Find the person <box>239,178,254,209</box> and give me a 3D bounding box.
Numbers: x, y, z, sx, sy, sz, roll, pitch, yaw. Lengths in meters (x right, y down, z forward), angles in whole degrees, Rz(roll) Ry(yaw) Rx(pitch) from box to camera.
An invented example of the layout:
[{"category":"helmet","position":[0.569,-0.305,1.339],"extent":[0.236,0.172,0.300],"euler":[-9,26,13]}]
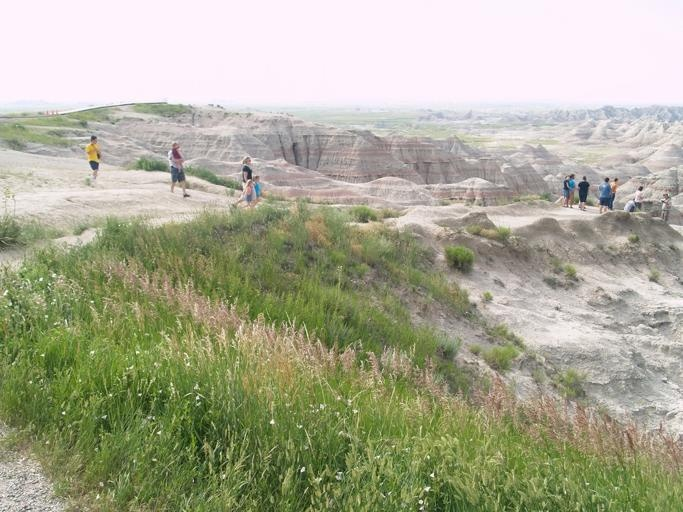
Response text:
[{"category":"person","position":[-2.849,-1.909,17.399],"extent":[0.401,0.836,1.087],"euler":[2,19,-9]}]
